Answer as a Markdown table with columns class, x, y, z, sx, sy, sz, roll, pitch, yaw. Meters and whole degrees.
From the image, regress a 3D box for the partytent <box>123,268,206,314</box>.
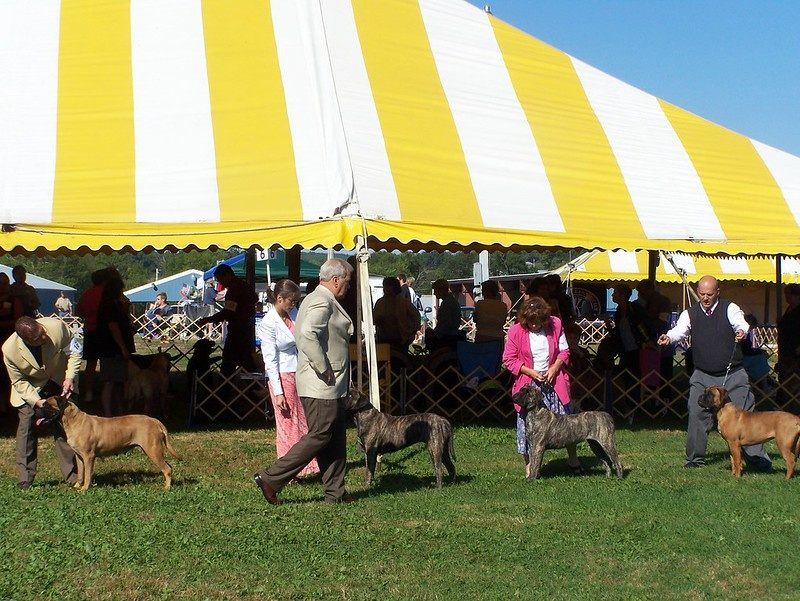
| class | x | y | z | sx | sy | sz | roll | pitch | yaw |
| --- | --- | --- | --- | --- | --- | --- | --- | --- | --- |
| partytent | -12.926 | -0.500 | 43.613 | 2.835 | 1.721 | 3.159 | -9 | 5 | -14 |

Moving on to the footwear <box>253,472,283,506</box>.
| class | x | y | z | sx | sy | sz | roll | pitch | yaw |
| --- | --- | --- | --- | --- | --- | --- | --- | --- | --- |
| footwear | -1.263 | 1.819 | 7.758 | 0.196 | 0.440 | 0.142 | -13 | 18 | 17 |

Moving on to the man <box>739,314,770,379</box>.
| class | x | y | z | sx | sy | sz | roll | pitch | yaw |
| --- | --- | --- | --- | --- | --- | --- | --- | --- | --- |
| man | 5.462 | 0.802 | 12.586 | 0.510 | 1.140 | 0.411 | -9 | -8 | 35 |

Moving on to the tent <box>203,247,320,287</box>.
| class | x | y | z | sx | sy | sz | roll | pitch | yaw |
| --- | --- | --- | --- | --- | --- | --- | --- | --- | --- |
| tent | -3.102 | -0.709 | 18.164 | 2.077 | 1.072 | 2.200 | -2 | 1 | -17 |

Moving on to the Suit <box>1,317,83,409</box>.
| class | x | y | z | sx | sy | sz | roll | pitch | yaw |
| --- | --- | --- | --- | --- | --- | --- | --- | --- | --- |
| Suit | -3.611 | 0.636 | 8.110 | 0.691 | 0.911 | 0.423 | -2 | 4 | -27 |

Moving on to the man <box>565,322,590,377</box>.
| class | x | y | z | sx | sy | sz | roll | pitch | yaw |
| --- | --- | --- | --- | --- | --- | --- | --- | --- | --- |
| man | 2.637 | 0.730 | 12.196 | 0.453 | 0.509 | 1.131 | 9 | -11 | 20 |

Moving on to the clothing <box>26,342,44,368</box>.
| class | x | y | z | sx | sy | sz | roll | pitch | yaw |
| --- | --- | --- | --- | --- | --- | --- | --- | --- | --- |
| clothing | -3.623 | 0.554 | 7.961 | 0.133 | 0.208 | 0.069 | -2 | 11 | -18 |

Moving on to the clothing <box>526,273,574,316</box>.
| class | x | y | z | sx | sy | sz | roll | pitch | yaw |
| --- | --- | --- | --- | --- | --- | --- | --- | --- | --- |
| clothing | 2.212 | -0.073 | 11.661 | 0.594 | 0.343 | 0.632 | 0 | 8 | -6 |

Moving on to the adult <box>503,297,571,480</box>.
| class | x | y | z | sx | sy | sz | roll | pitch | yaw |
| --- | --- | --- | --- | --- | --- | --- | --- | --- | --- |
| adult | 1.542 | 0.927 | 8.759 | 0.687 | 1.992 | 0.720 | -8 | 24 | 2 |

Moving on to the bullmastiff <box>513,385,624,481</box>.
| class | x | y | z | sx | sy | sz | roll | pitch | yaw |
| --- | --- | --- | --- | --- | --- | --- | --- | --- | --- |
| bullmastiff | 2.037 | 1.462 | 8.892 | 1.549 | 1.309 | 0.641 | 3 | -7 | -2 |

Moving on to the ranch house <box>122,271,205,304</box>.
| class | x | y | z | sx | sy | sz | roll | pitch | yaw |
| --- | --- | --- | --- | --- | --- | --- | --- | --- | --- |
| ranch house | -13.605 | -0.693 | 45.874 | 2.424 | 1.254 | 2.757 | -3 | 2 | 10 |
